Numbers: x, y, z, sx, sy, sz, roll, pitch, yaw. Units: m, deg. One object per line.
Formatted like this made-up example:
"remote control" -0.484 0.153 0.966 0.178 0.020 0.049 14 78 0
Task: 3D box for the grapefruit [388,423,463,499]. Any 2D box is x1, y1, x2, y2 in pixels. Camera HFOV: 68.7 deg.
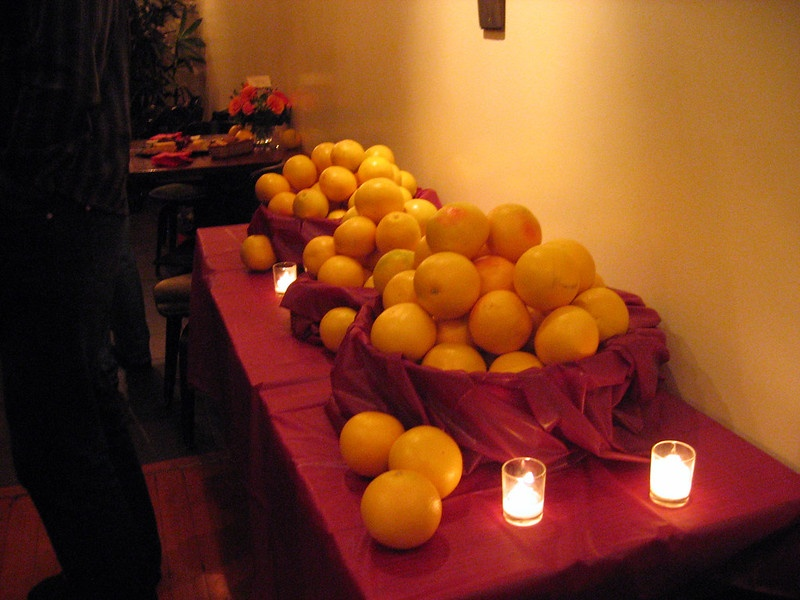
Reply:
"grapefruit" 0.051 0.273 1.046 0.121 0.127 0.118 4 -11 -23

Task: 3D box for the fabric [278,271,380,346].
"fabric" -0.209 0.012 1.574 0.197 0.119 0.200 -9 27 -28

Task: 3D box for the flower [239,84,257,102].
"flower" -1.058 -1.448 4.086 0.104 0.088 0.136 -4 23 -13

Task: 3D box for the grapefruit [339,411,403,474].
"grapefruit" -0.056 0.271 1.157 0.103 0.112 0.123 -4 -11 -21

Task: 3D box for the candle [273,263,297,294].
"candle" -0.357 -0.068 1.821 0.075 0.093 0.077 7 14 23

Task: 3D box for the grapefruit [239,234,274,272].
"grapefruit" -0.488 -0.169 2.066 0.109 0.123 0.117 11 10 39

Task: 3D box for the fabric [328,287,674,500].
"fabric" 0.214 0.189 1.172 0.372 0.128 0.396 2 18 10

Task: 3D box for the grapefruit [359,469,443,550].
"grapefruit" 0.004 0.333 1.000 0.113 0.101 0.118 0 5 3
